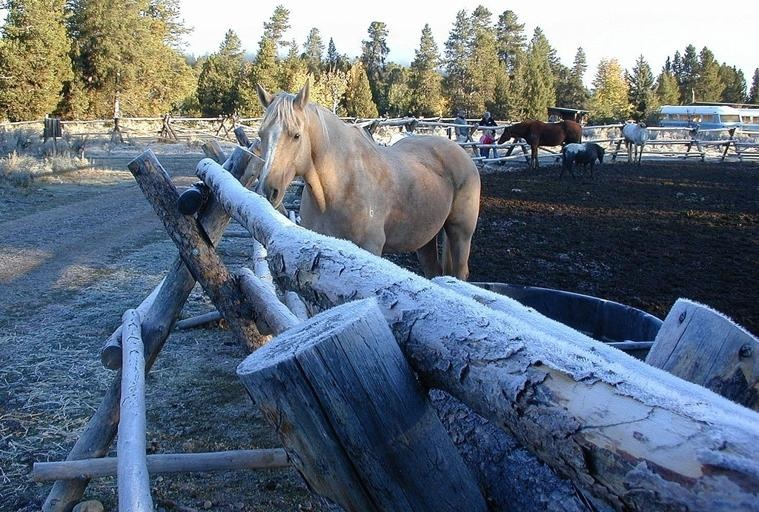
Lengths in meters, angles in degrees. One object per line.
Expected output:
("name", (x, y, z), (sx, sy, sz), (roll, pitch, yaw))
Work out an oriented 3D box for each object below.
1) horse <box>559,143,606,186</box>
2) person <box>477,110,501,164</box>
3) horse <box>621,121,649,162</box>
("horse", (7.658, -3.598, 18.596), (1.648, 1.334, 0.530), (1, 12, -10))
("person", (4.751, -5.226, 21.927), (0.558, 1.929, 0.597), (-5, 17, 2))
("horse", (12.622, -5.741, 24.511), (0.641, 1.962, 2.772), (-5, 19, 11))
